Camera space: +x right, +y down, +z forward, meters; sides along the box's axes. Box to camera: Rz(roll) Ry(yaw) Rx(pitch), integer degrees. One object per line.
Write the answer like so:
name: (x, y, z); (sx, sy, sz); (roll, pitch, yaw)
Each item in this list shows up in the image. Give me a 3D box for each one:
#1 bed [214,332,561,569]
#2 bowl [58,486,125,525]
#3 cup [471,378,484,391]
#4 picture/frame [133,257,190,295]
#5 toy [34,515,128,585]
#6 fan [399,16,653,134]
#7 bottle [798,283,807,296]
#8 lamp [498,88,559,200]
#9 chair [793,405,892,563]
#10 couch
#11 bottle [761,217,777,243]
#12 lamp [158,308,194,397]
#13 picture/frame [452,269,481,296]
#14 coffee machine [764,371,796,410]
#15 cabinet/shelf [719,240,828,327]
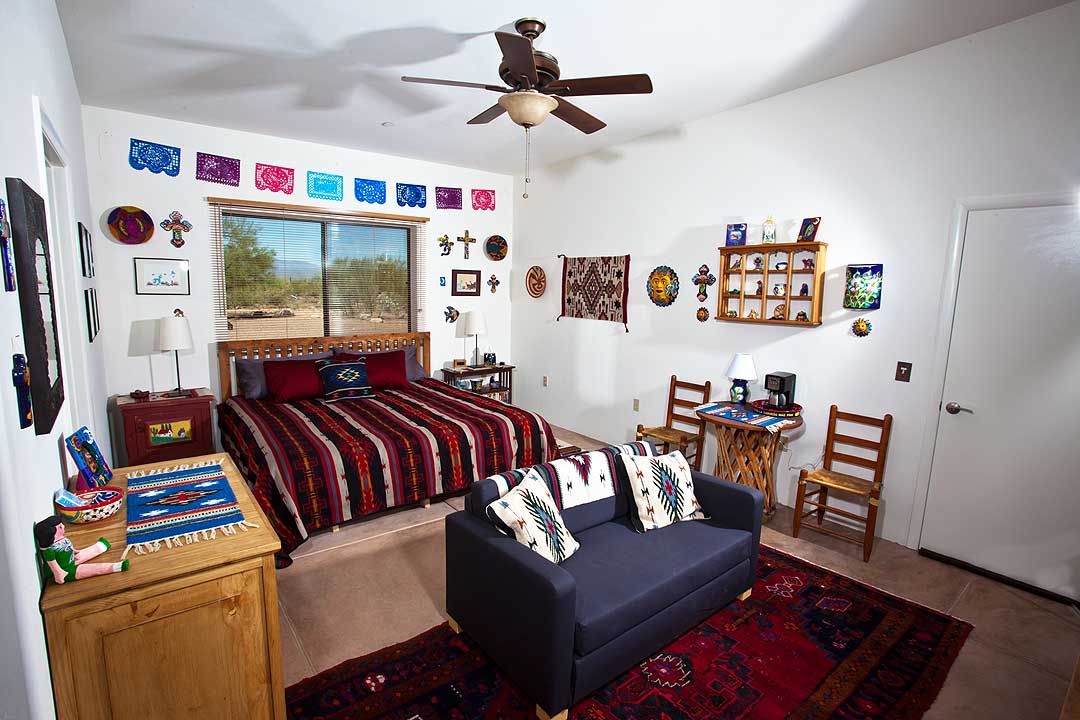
bed: (-1.750, 0.522, 5.902); (2.169, 0.912, 2.108); (-7, 14, -39)
bowl: (-2.288, 0.730, 3.436); (0.211, 0.089, 0.186); (1, 8, -7)
cup: (-0.699, 0.276, 7.620); (0.128, 0.089, 0.126); (0, 5, 0)
picture/frame: (-3.396, -0.756, 6.045); (0.363, 0.295, 0.026); (-3, 9, -45)
toy: (-2.104, 0.885, 3.176); (0.357, 0.367, 0.288); (-5, 26, -29)
fan: (0.019, -1.840, 4.284); (1.434, 0.630, 1.603); (10, 20, 23)
bottle: (2.123, -0.560, 5.444); (0.063, 0.108, 0.053); (3, 10, 15)
lamp: (-0.081, -1.935, 6.092); (0.717, 1.030, 0.652); (1, 6, -7)
chair: (2.337, 0.895, 5.235); (0.613, 1.043, 0.696); (6, 11, 28)
couch: (0.383, 0.693, 4.040); (2.340, 1.174, 1.301); (-5, 7, -38)
bottle: (1.887, -1.065, 5.565); (0.125, 0.201, 0.228); (3, 10, 17)
lamp: (-3.224, -0.089, 5.987); (0.277, 0.714, 0.484); (-5, 11, -29)
picture/frame: (-0.859, -0.897, 7.765); (0.334, 0.271, 0.025); (-3, 10, -38)
coffee machine: (1.965, 0.242, 5.552); (0.232, 0.280, 0.236); (6, 11, 29)
cabinet/shelf: (1.951, -0.641, 5.558); (0.732, 0.600, 0.195); (6, 7, 45)
